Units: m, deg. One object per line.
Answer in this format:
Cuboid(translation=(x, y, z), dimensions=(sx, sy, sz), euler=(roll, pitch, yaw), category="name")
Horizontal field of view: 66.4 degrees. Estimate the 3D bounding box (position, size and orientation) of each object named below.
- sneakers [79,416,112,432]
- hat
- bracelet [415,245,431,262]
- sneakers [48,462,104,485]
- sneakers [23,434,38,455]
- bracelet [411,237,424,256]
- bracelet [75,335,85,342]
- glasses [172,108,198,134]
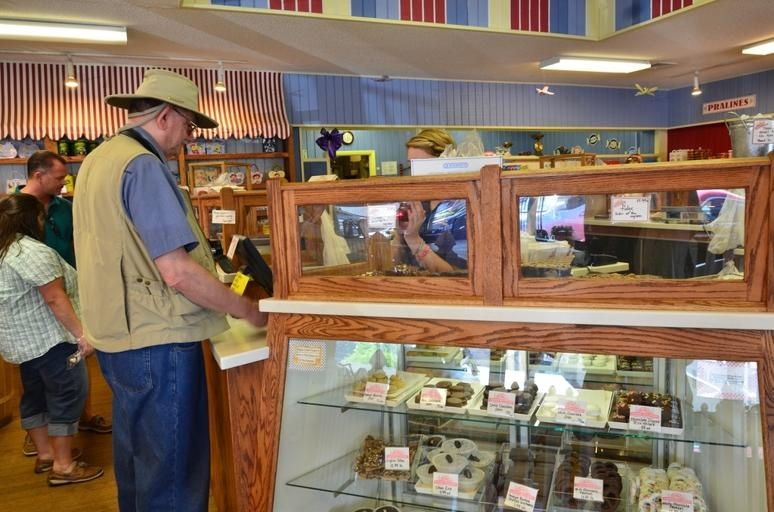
Cuboid(translation=(-2.391, 1.378, 4.907), dimensions=(0.317, 0.113, 0.125), euler=(3, 1, 2), category="sneakers")
Cuboid(translation=(-1.117, -0.848, 3.077), dimensions=(0.565, 0.195, 0.476), euler=(9, 14, -20), category="hat")
Cuboid(translation=(0.162, -0.012, 2.755), dimensions=(0.063, 0.073, 0.026), euler=(38, 4, -23), category="bracelet")
Cuboid(translation=(-2.201, 1.511, 4.171), dimensions=(0.319, 0.119, 0.157), euler=(-2, 2, -28), category="sneakers")
Cuboid(translation=(-2.758, 1.469, 4.644), dimensions=(0.114, 0.111, 0.275), euler=(4, -5, -23), category="sneakers")
Cuboid(translation=(0.143, -0.041, 2.730), dimensions=(0.020, 0.067, 0.071), euler=(15, 8, -18), category="bracelet")
Cuboid(translation=(-2.025, 0.548, 3.908), dimensions=(0.045, 0.031, 0.044), euler=(-5, -9, 43), category="bracelet")
Cuboid(translation=(-1.037, -0.698, 3.076), dimensions=(0.104, 0.029, 0.103), euler=(39, -5, 9), category="glasses")
